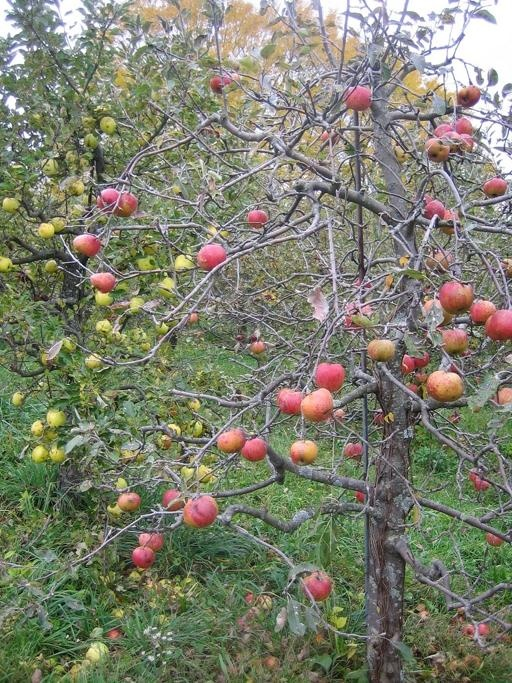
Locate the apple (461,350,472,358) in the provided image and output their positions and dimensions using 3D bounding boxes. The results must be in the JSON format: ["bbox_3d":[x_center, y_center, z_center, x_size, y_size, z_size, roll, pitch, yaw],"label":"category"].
[{"bbox_3d":[0.876,0.054,2.648,0.028,0.026,0.032,32,-14,0],"label":"apple"}]

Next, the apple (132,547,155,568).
[{"bbox_3d":[-0.458,0.874,2.565,0.079,0.077,0.165,18,-24,-6],"label":"apple"}]

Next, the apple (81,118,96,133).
[{"bbox_3d":[-0.944,-1.217,3.571,0.056,0.058,0.035,1,8,-7],"label":"apple"}]

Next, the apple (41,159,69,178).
[{"bbox_3d":[-1.125,-0.954,3.567,0.100,0.100,0.116,43,21,-16],"label":"apple"}]

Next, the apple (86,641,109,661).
[{"bbox_3d":[-0.730,1.430,2.909,0.065,0.062,0.065,9,-39,-11],"label":"apple"}]

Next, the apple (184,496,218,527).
[{"bbox_3d":[-0.155,0.476,1.772,0.104,0.084,0.093,-4,-12,-9],"label":"apple"}]

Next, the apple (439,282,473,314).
[{"bbox_3d":[0.544,-0.117,1.769,0.097,0.096,0.092,-1,-6,5],"label":"apple"}]

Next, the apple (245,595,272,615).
[{"bbox_3d":[0.012,1.378,3.312,0.140,0.111,0.177,13,-24,2],"label":"apple"}]

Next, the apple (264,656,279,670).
[{"bbox_3d":[0.070,1.499,2.941,0.067,0.052,0.051,11,-25,6],"label":"apple"}]

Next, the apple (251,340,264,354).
[{"bbox_3d":[0.007,0.029,2.923,0.065,0.051,0.057,-1,4,2],"label":"apple"}]

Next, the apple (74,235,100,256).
[{"bbox_3d":[-0.562,-0.304,2.043,0.084,0.071,0.080,7,15,16],"label":"apple"}]

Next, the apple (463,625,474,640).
[{"bbox_3d":[1.078,1.477,3.227,0.045,0.062,0.159,7,-24,18],"label":"apple"}]

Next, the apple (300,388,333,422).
[{"bbox_3d":[0.158,0.166,1.670,0.091,0.077,0.081,-4,1,-6],"label":"apple"}]

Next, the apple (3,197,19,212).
[{"bbox_3d":[-1.241,-0.693,3.211,0.078,0.066,0.071,-9,-18,11],"label":"apple"}]

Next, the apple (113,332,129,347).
[{"bbox_3d":[-0.635,-0.006,2.979,0.107,0.054,0.076,4,2,-21],"label":"apple"}]

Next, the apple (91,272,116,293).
[{"bbox_3d":[-0.488,-0.194,2.039,0.078,0.064,0.069,5,11,9],"label":"apple"}]

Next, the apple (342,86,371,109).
[{"bbox_3d":[0.334,-0.794,2.099,0.092,0.071,0.069,34,-33,31],"label":"apple"}]

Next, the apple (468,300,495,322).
[{"bbox_3d":[0.639,-0.082,1.814,0.071,0.070,0.067,-2,-8,-3],"label":"apple"}]

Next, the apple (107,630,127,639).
[{"bbox_3d":[-0.691,1.444,3.115,0.051,0.025,0.043,-1,-3,35],"label":"apple"}]

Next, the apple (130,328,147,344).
[{"bbox_3d":[-0.655,-0.030,3.548,0.097,0.055,0.106,2,13,-19],"label":"apple"}]

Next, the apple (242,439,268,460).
[{"bbox_3d":[-0.001,0.342,2.033,0.076,0.067,0.075,-7,2,33],"label":"apple"}]

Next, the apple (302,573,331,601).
[{"bbox_3d":[0.211,0.842,2.178,0.082,0.092,0.079,7,-26,17],"label":"apple"}]

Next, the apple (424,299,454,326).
[{"bbox_3d":[0.506,-0.081,1.758,0.083,0.084,0.077,-10,6,13],"label":"apple"}]

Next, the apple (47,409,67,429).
[{"bbox_3d":[-0.957,0.377,3.092,0.101,0.097,0.089,5,-1,3],"label":"apple"}]

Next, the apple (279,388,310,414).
[{"bbox_3d":[0.113,0.172,1.826,0.081,0.065,0.073,0,1,-2],"label":"apple"}]

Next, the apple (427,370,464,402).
[{"bbox_3d":[0.518,0.124,1.767,0.099,0.076,0.089,-2,-3,2],"label":"apple"}]

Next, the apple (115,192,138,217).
[{"bbox_3d":[-0.408,-0.426,2.007,0.081,0.080,0.075,3,-2,-11],"label":"apple"}]

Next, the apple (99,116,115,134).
[{"bbox_3d":[-0.830,-1.219,3.566,0.078,0.067,0.095,-7,-5,2],"label":"apple"}]

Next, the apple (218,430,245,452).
[{"bbox_3d":[-0.072,0.295,1.871,0.076,0.063,0.070,-3,-7,-2],"label":"apple"}]

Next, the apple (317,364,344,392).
[{"bbox_3d":[0.204,0.101,1.795,0.087,0.075,0.080,-2,2,-1],"label":"apple"}]

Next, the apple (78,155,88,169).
[{"bbox_3d":[-0.995,-1.030,3.652,0.058,0.032,0.064,-6,-3,-2],"label":"apple"}]

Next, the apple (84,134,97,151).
[{"bbox_3d":[-0.940,-1.128,3.590,0.073,0.072,0.067,1,-10,11],"label":"apple"}]

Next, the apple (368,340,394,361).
[{"bbox_3d":[0.363,0.026,1.844,0.074,0.058,0.069,2,-2,-27],"label":"apple"}]

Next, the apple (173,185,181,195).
[{"bbox_3d":[-0.363,-0.695,2.902,0.027,0.044,0.082,-13,29,-7],"label":"apple"}]
